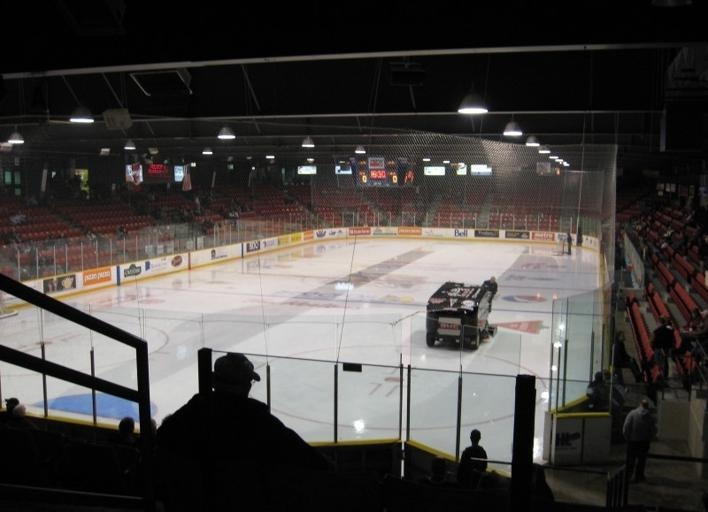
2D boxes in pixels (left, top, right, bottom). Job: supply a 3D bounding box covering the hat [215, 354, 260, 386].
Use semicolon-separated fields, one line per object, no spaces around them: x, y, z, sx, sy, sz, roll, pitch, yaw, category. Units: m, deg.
-0.924;0.901;4.690;0.226;0.165;0.315;14;18;33;hat
